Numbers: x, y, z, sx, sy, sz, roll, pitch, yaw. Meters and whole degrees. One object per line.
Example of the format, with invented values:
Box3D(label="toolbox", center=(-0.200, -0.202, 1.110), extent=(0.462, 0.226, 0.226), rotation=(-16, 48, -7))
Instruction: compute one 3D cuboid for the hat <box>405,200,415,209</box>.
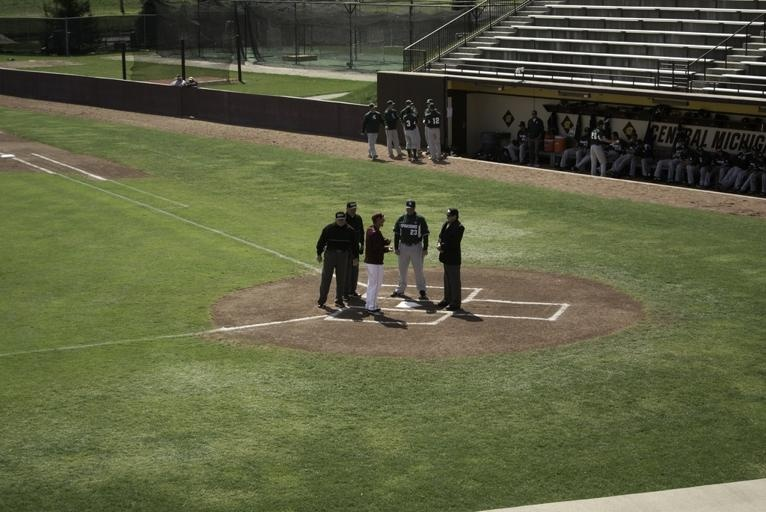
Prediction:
Box3D(label="hat", center=(0.559, -1.180, 21.461), extent=(0.251, 0.164, 0.361), rotation=(1, -1, 10))

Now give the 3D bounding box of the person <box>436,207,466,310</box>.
Box3D(label="person", center=(1.452, 0.046, 21.136), extent=(0.594, 2.200, 0.941), rotation=(4, 11, 4))

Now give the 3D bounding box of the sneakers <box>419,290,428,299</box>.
Box3D(label="sneakers", center=(0.859, 0.869, 21.717), extent=(0.194, 0.078, 0.240), rotation=(2, 9, 1))

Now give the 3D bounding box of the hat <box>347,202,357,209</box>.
Box3D(label="hat", center=(-0.706, -1.170, 21.353), extent=(0.256, 0.150, 0.311), rotation=(1, -3, -10))

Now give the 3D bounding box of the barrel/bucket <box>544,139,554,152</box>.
Box3D(label="barrel/bucket", center=(5.777, -3.977, 34.110), extent=(0.451, 0.368, 0.315), rotation=(11, 24, 30))

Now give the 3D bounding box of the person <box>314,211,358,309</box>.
Box3D(label="person", center=(-1.042, 0.068, 21.190), extent=(0.875, 2.114, 0.519), rotation=(0, 12, -15))

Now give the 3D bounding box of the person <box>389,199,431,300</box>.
Box3D(label="person", center=(0.623, -0.167, 21.789), extent=(0.832, 2.206, 1.011), rotation=(3, 11, 1))

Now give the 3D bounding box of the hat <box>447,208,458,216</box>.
Box3D(label="hat", center=(1.502, -0.980, 21.025), extent=(0.244, 0.169, 0.162), rotation=(-9, 24, -12))

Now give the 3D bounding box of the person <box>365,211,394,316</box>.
Box3D(label="person", center=(-0.184, 0.137, 21.014), extent=(0.527, 2.137, 0.721), rotation=(3, 11, -1))
